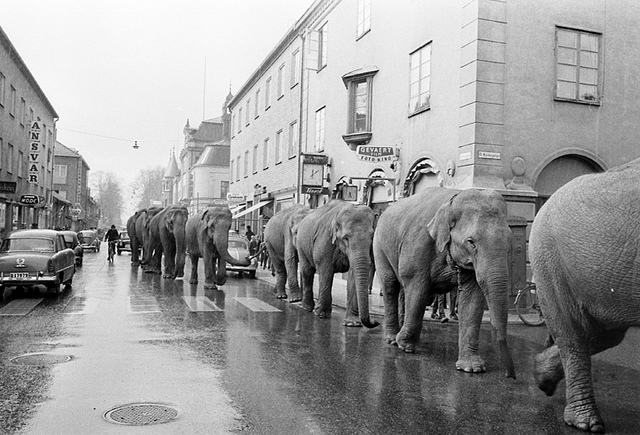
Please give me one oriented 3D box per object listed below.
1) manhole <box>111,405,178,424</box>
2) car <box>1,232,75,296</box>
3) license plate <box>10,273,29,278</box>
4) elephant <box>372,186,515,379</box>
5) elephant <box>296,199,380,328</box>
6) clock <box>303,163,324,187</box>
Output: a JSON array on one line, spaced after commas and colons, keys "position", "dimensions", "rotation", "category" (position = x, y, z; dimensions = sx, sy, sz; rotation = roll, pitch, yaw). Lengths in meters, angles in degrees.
[{"position": [-2.071, 2.291, 6.164], "dimensions": [0.709, 0.044, 0.558], "rotation": [2, -3, -20], "category": "manhole"}, {"position": [-8.137, 1.309, 15.301], "dimensions": [1.326, 1.123, 2.335], "rotation": [0, 1, -9], "category": "car"}, {"position": [-8.205, 1.556, 14.251], "dimensions": [0.445, 0.116, 0.074], "rotation": [2, -2, -12], "category": "license plate"}, {"position": [2.002, 1.006, 9.105], "dimensions": [1.152, 2.827, 4.225], "rotation": [1, -1, -17], "category": "elephant"}, {"position": [0.420, 1.047, 12.614], "dimensions": [1.189, 2.789, 4.326], "rotation": [0, 0, -17], "category": "elephant"}, {"position": [-0.356, -1.899, 23.604], "dimensions": [0.879, 1.100, 0.138], "rotation": [2, 0, -19], "category": "clock"}]
